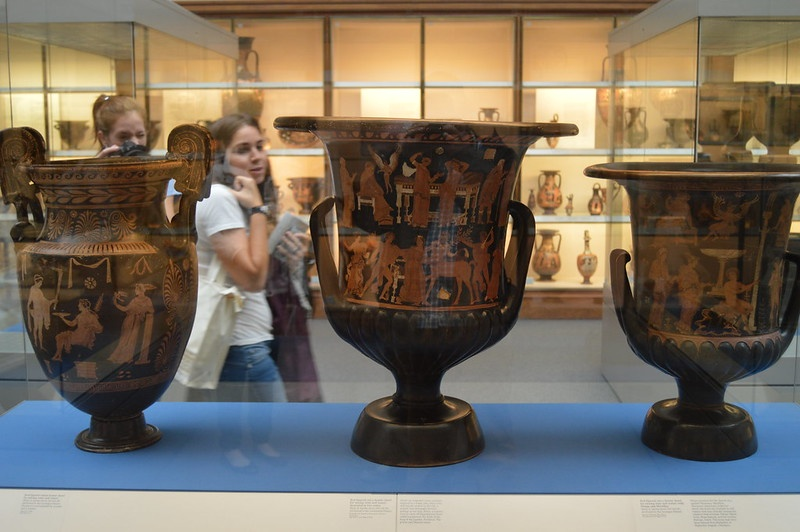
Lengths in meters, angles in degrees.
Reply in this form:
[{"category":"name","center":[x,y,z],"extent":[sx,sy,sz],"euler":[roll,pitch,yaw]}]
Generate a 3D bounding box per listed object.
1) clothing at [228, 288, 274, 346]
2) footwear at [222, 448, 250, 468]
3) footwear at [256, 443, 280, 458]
[{"category":"clothing","center":[-0.393,0.120,2.231],"extent":[0.130,0.174,0.136],"euler":[-3,8,-16]},{"category":"footwear","center":[-0.418,0.496,2.179],"extent":[0.036,0.013,0.054],"euler":[-1,29,-25]},{"category":"footwear","center":[-0.343,0.479,2.203],"extent":[0.029,0.010,0.046],"euler":[-29,49,-27]}]
